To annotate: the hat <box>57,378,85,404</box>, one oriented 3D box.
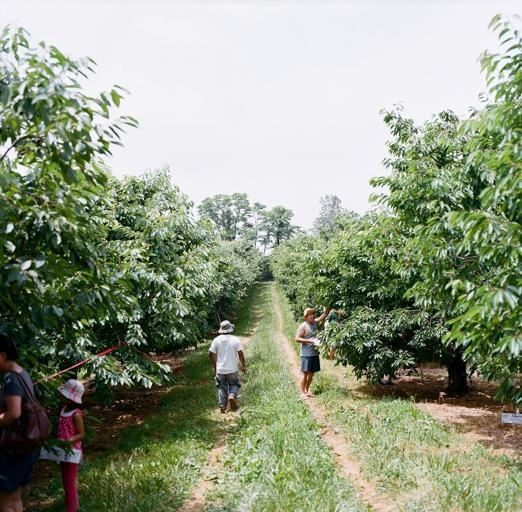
[{"bbox_3d":[-2.021,1.493,4.918,0.263,0.140,0.274,21,4,9],"label":"hat"}]
